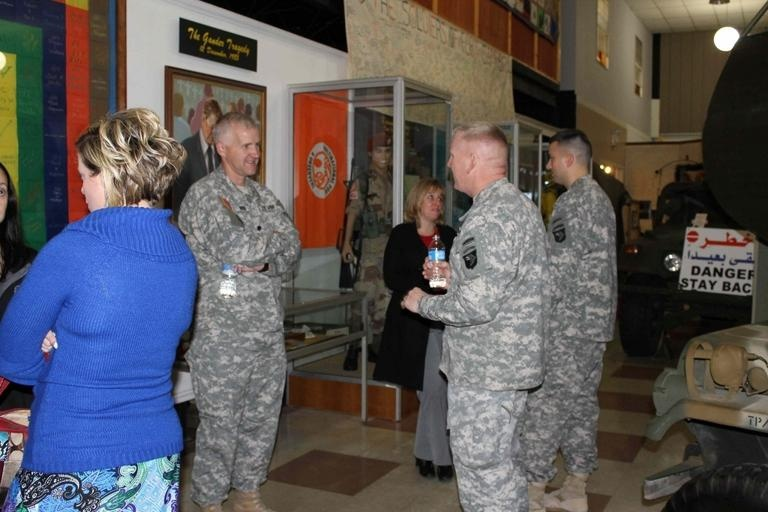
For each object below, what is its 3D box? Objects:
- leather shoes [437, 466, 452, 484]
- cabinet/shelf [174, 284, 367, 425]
[{"bbox_3d":[0.412,1.489,4.398,0.094,0.096,0.179,6,-1,18],"label":"leather shoes"},{"bbox_3d":[-0.886,0.688,5.514,1.281,1.233,1.015,1,1,28],"label":"cabinet/shelf"}]
